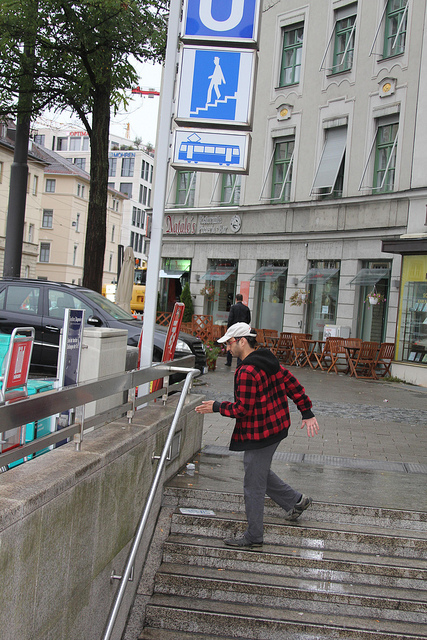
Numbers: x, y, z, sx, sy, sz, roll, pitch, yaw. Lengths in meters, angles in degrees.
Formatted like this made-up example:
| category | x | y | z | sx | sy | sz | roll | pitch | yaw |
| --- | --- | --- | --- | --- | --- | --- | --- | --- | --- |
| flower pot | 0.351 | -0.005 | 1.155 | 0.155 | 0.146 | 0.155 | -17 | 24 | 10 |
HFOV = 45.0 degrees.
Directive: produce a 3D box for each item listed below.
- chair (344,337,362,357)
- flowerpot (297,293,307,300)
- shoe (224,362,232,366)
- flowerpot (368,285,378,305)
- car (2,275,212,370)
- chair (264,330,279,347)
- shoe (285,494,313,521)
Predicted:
| category | x | y | z | sx | sy | sz | roll | pitch | yaw |
| --- | --- | --- | --- | --- | --- | --- | --- | --- | --- |
| chair | 4.578 | 0.920 | 17.189 | 0.538 | 0.835 | 0.557 | 3 | -9 | 1 |
| flowerpot | 3.704 | -0.940 | 21.393 | 0.204 | 0.158 | 0.214 | 13 | -11 | 1 |
| shoe | 0.496 | 1.483 | 17.092 | 0.242 | 0.136 | 0.507 | 4 | 5 | -5 |
| flowerpot | 5.837 | -0.904 | 18.855 | 0.314 | 0.680 | 0.532 | 6 | 4 | 19 |
| car | -1.769 | -0.143 | 8.921 | 3.567 | 1.415 | 1.662 | 4 | 0 | 10 |
| chair | 2.271 | 0.740 | 20.349 | 0.525 | 0.772 | 0.595 | 0 | 0 | 44 |
| shoe | 0.660 | 1.480 | 4.088 | 0.139 | 0.317 | 0.109 | 17 | 35 | -13 |
